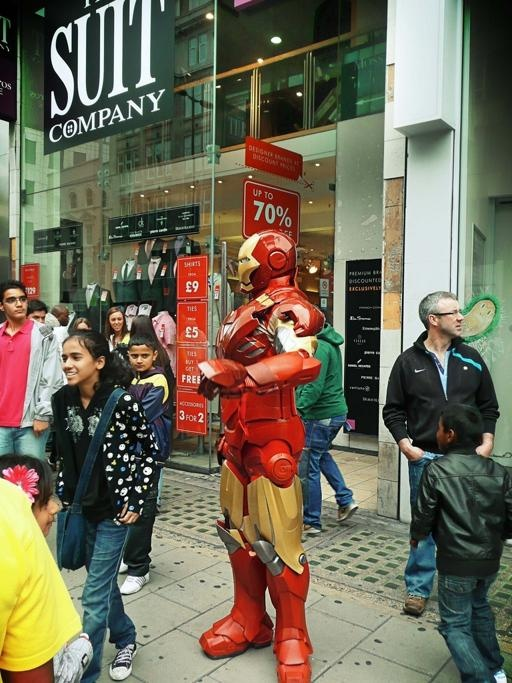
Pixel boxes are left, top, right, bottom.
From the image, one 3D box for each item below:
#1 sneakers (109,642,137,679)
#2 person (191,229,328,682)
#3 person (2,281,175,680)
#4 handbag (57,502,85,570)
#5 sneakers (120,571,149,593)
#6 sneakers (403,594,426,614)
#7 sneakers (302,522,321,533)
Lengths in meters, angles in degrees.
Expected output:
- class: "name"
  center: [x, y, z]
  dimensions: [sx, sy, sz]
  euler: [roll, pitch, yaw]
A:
- class: "sneakers"
  center: [-0.601, 1.445, 2.556]
  dimensions: [0.066, 0.069, 0.172]
  euler: [3, -9, 3]
- class: "person"
  center: [0.025, 0.511, 2.505]
  dimensions: [0.577, 2.063, 0.931]
  euler: [-1, 3, -6]
- class: "person"
  center: [-0.629, 0.734, 2.429]
  dimensions: [0.430, 1.551, 0.457]
  euler: [-2, 3, -21]
- class: "handbag"
  center: [-0.784, 0.823, 2.395]
  dimensions: [0.116, 0.307, 0.148]
  euler: [-2, 3, -20]
- class: "sneakers"
  center: [-0.756, 1.490, 3.527]
  dimensions: [0.075, 0.081, 0.214]
  euler: [-2, -8, 16]
- class: "sneakers"
  center: [0.894, 1.477, 3.186]
  dimensions: [0.061, 0.071, 0.177]
  euler: [0, -5, 22]
- class: "sneakers"
  center: [0.449, 1.483, 4.549]
  dimensions: [0.169, 0.076, 0.055]
  euler: [6, -1, 1]
